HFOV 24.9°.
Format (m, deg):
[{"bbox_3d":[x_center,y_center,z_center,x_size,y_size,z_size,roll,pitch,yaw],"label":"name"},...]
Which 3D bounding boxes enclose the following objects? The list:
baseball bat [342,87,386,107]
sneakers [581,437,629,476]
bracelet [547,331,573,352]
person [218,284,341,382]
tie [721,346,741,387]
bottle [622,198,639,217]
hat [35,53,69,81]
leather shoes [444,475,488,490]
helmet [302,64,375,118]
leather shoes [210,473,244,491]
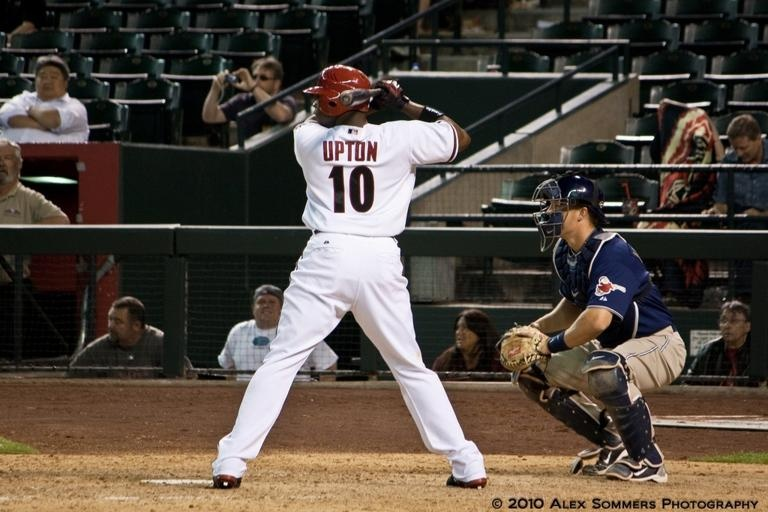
[{"bbox_3d":[-0.231,-1.436,15.492,0.242,0.125,0.186,-5,12,13],"label":"baseball bat"},{"bbox_3d":[1.952,1.902,15.879,0.568,0.239,0.189,-2,1,-19],"label":"sneakers"},{"bbox_3d":[1.563,0.797,15.779,0.158,0.166,0.199,-5,-6,16],"label":"bracelet"},{"bbox_3d":[-1.023,0.749,16.485,0.965,0.931,0.335,2,-10,9],"label":"person"},{"bbox_3d":[3.457,1.136,17.450,0.119,0.316,0.237,0,0,-6],"label":"tie"},{"bbox_3d":[2.624,-0.529,18.766,0.211,0.180,0.261,1,-2,11],"label":"bottle"},{"bbox_3d":[-3.629,-2.097,19.170,0.296,0.350,0.156,-8,41,-8],"label":"hat"},{"bbox_3d":[0.711,2.059,15.535,0.359,0.150,0.130,-9,-6,24],"label":"leather shoes"},{"bbox_3d":[-0.407,-1.520,15.711,0.568,0.347,0.382,14,12,7],"label":"helmet"},{"bbox_3d":[-1.394,2.019,15.395,0.254,0.136,0.141,-1,2,-10],"label":"leather shoes"}]
